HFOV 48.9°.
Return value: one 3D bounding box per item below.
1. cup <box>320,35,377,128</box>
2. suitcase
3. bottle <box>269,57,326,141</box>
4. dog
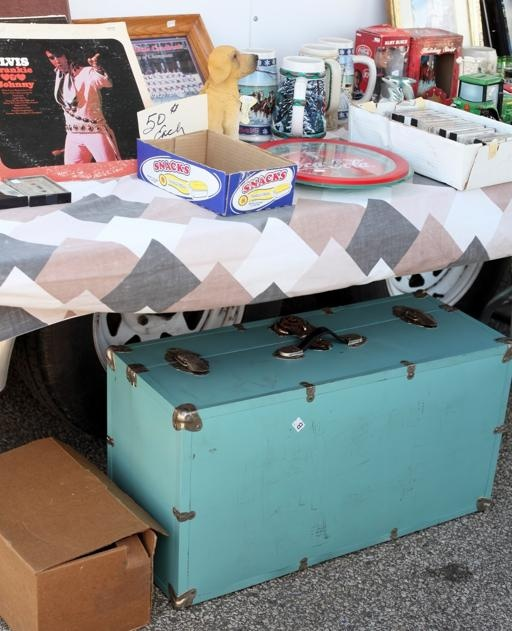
[{"bbox_3d":[0.245,-0.649,1.588,0.232,0.204,0.125,-15,33,-28],"label":"cup"},{"bbox_3d":[-0.106,0.166,1.480,1.181,0.478,0.644,-8,16,-33],"label":"suitcase"},{"bbox_3d":[0.103,-0.497,1.325,0.140,0.175,0.187,7,33,7],"label":"bottle"},{"bbox_3d":[-0.065,-0.452,1.158,0.123,0.182,0.135,-15,29,-21],"label":"dog"}]
